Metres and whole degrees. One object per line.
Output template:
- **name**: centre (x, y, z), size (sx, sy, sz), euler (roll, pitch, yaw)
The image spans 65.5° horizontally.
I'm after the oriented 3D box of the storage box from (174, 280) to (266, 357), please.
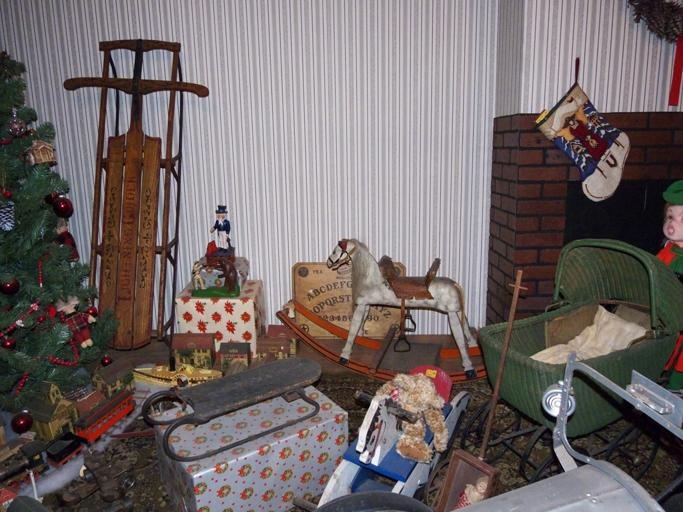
- **storage box**: centre (-0.916, 0.466, 4.312), size (0.569, 0.428, 0.568), euler (2, 21, 4)
